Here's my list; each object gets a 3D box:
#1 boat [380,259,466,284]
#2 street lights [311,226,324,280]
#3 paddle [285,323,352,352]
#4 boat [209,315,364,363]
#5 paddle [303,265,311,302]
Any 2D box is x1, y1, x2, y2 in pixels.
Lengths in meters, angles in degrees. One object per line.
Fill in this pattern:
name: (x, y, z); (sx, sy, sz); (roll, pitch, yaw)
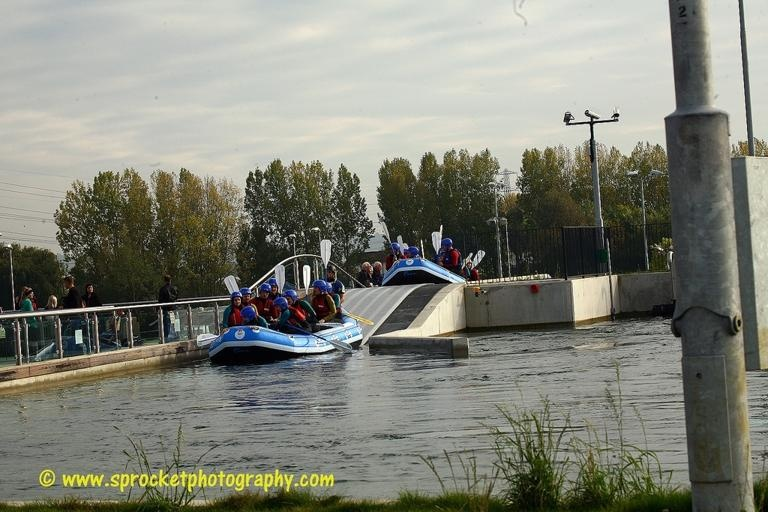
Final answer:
boat: (1.158, 0.566, 54.957); (2.750, 0.692, 1.511); (-6, -3, 28)
street lights: (-3.750, -0.261, 85.125); (0.326, 3.465, 0.216); (1, 1, -11)
paddle: (-1.940, 2.319, 43.407); (1.880, 0.225, 0.130); (26, -18, -33)
boat: (-2.451, 2.339, 43.488); (1.746, 0.713, 5.573); (-7, -3, 41)
paddle: (-2.727, 0.985, 53.804); (0.222, 1.168, 0.285); (-1, -11, 5)
